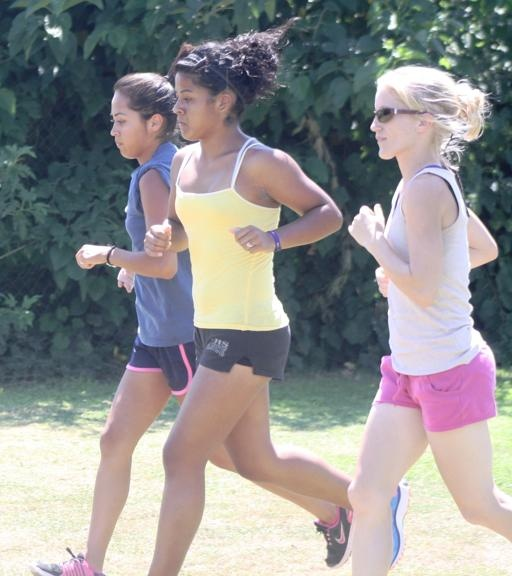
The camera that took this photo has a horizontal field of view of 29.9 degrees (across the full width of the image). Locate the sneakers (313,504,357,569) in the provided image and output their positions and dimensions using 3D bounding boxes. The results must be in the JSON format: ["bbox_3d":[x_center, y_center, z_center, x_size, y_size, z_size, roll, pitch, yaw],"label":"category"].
[{"bbox_3d":[0.338,1.041,3.951,0.133,0.268,0.091,3,8,-9],"label":"sneakers"}]

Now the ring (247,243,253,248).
[{"bbox_3d":[-0.019,-0.146,3.281,0.019,0.017,0.007,-3,-2,12],"label":"ring"}]
